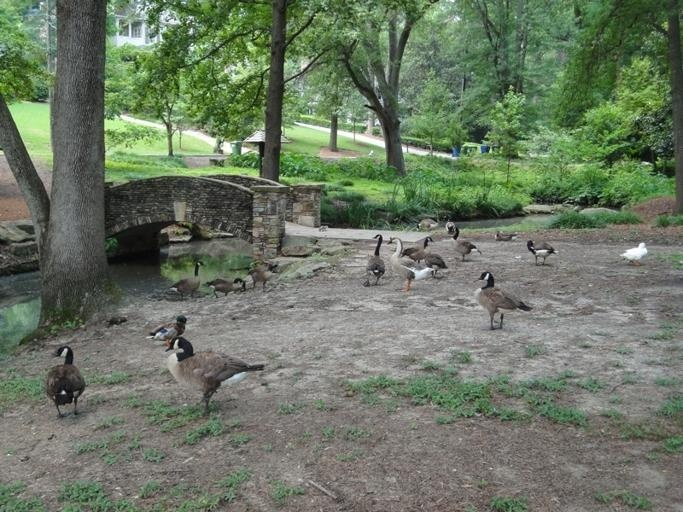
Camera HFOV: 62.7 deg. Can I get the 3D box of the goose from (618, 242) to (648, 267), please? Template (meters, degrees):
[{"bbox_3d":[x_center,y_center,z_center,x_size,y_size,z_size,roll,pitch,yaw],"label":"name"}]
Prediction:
[{"bbox_3d":[8.905,-0.057,17.017,0.576,0.670,1.371,3,7,31],"label":"goose"}]

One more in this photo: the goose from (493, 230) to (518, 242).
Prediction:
[{"bbox_3d":[6.736,-0.796,22.684,1.040,0.543,0.496,1,-4,4],"label":"goose"}]
